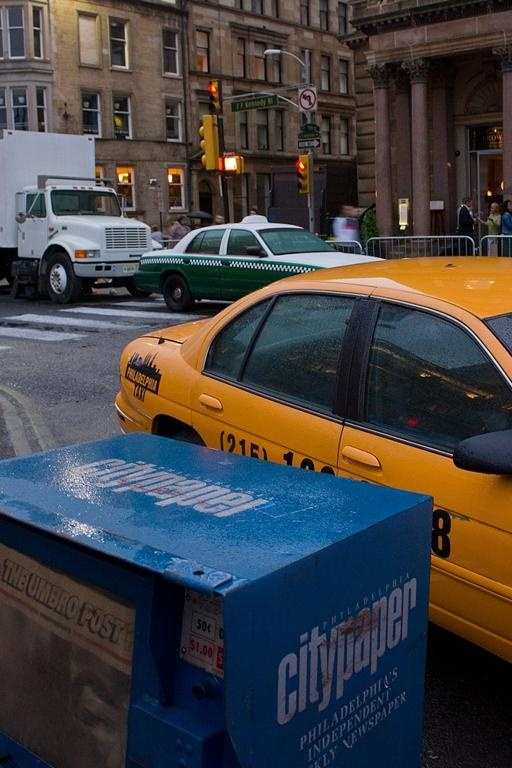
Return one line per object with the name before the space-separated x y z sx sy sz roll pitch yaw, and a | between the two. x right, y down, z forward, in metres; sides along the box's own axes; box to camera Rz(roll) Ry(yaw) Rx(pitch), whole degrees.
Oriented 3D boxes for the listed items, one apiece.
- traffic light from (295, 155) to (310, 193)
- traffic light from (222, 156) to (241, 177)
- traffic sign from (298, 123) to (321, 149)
traffic light | 1.566 -6.964 21.078 0.376 1.301 1.009 -1 5 5
traffic light | -0.888 -8.076 23.386 0.655 0.770 0.598 0 5 9
traffic sign | 1.732 -8.240 20.936 0.625 0.966 1.310 -1 6 2
